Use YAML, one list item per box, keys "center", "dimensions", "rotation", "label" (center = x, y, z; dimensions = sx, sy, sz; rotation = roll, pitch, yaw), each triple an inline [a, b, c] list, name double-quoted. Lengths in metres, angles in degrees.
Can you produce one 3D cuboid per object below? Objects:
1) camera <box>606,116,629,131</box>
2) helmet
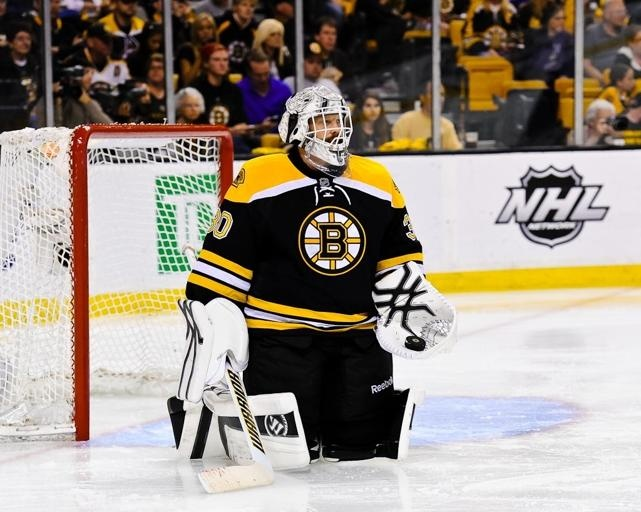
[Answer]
- center: [2.239, -0.988, 7.797]
  dimensions: [0.128, 0.047, 0.129]
  rotation: [-3, -6, 41]
  label: "camera"
- center: [-0.005, -0.483, 3.916]
  dimensions: [0.284, 0.322, 0.361]
  rotation: [-13, 16, -42]
  label: "helmet"
